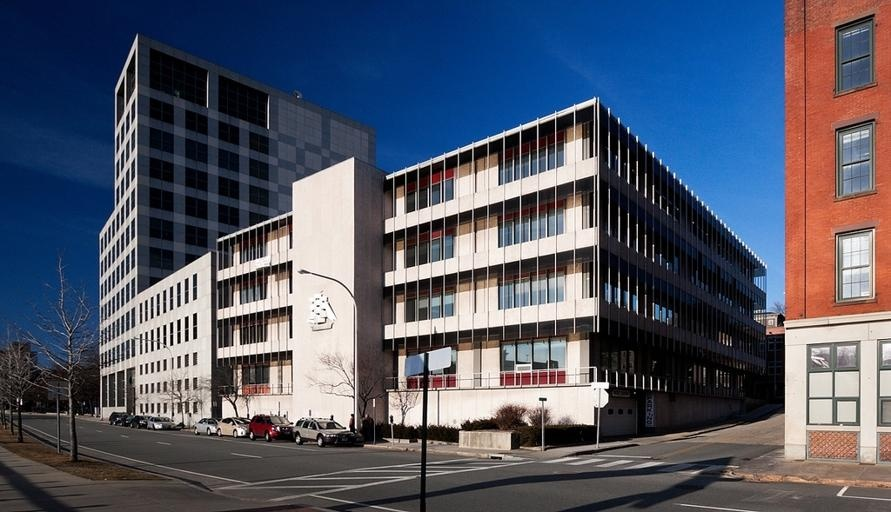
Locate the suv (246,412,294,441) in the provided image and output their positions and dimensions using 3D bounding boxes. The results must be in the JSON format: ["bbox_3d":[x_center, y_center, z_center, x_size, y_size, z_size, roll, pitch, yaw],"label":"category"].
[{"bbox_3d":[-16.281,16.119,82.270,2.162,2.765,4.460,14,-25,-41],"label":"suv"}]

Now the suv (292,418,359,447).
[{"bbox_3d":[-11.084,15.648,77.517,2.487,1.695,5.258,10,-18,-36],"label":"suv"}]
